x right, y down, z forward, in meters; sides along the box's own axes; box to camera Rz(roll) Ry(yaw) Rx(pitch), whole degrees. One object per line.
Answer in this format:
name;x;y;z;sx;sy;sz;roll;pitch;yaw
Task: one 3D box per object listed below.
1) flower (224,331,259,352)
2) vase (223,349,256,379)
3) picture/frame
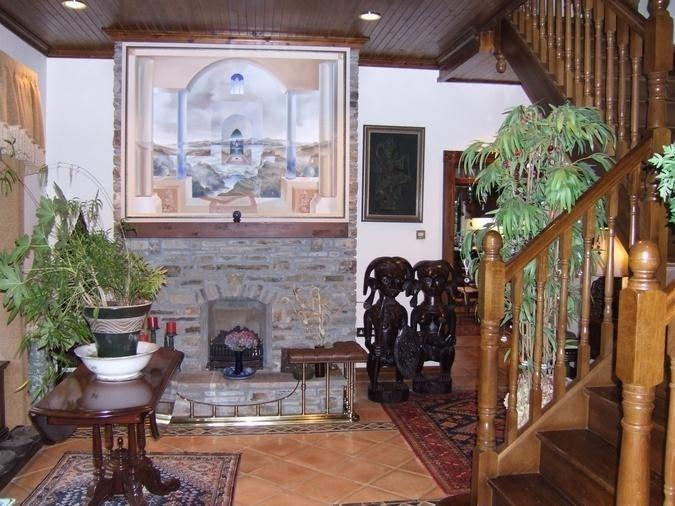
flower;-0.885;0.842;5.115;0.243;0.207;0.277;5;9;27
vase;-0.936;1.087;5.282;0.298;0.243;0.296;6;8;19
picture/frame;0.624;-0.901;6.163;0.675;1.062;0.224;2;8;2
